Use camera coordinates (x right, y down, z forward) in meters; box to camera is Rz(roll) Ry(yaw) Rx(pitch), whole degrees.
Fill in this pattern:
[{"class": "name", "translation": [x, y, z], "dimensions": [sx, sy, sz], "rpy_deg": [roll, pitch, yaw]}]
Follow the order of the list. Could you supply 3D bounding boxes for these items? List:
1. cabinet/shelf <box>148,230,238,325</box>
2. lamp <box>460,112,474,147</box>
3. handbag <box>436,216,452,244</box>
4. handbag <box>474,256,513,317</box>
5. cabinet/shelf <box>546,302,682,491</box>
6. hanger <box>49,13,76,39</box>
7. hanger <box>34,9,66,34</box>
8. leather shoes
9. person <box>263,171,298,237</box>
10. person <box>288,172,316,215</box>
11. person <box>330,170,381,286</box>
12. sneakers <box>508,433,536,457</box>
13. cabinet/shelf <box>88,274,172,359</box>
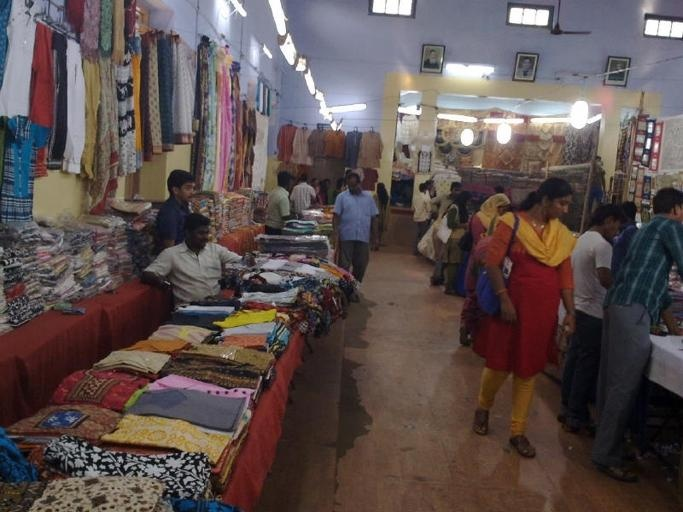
[{"class": "cabinet/shelf", "translation": [-1.188, 0.291, 4.382], "dimensions": [0.919, 0.866, 0.395], "rpy_deg": [-13, 15, -13]}, {"class": "lamp", "translation": [3.116, -3.028, 12.025], "dimensions": [0.213, 0.938, 0.952], "rpy_deg": [4, 18, 11]}, {"class": "handbag", "translation": [1.675, -0.406, 8.016], "dimensions": [0.166, 0.398, 0.292], "rpy_deg": [3, 0, 11]}, {"class": "handbag", "translation": [1.110, 0.193, 3.600], "dimensions": [0.195, 0.403, 0.279], "rpy_deg": [-6, 15, -17]}, {"class": "cabinet/shelf", "translation": [1.978, 0.935, 3.460], "dimensions": [0.347, 1.268, 0.321], "rpy_deg": [9, 12, 25]}, {"class": "hanger", "translation": [-2.176, -1.788, 3.800], "dimensions": [0.031, 0.121, 0.129], "rpy_deg": [-1, 1, 16]}, {"class": "hanger", "translation": [-2.193, -1.754, 3.648], "dimensions": [0.207, 0.094, 0.284], "rpy_deg": [-4, 30, -44]}, {"class": "leather shoes", "translation": [1.878, 1.478, 3.632], "dimensions": [0.514, 0.220, 0.159], "rpy_deg": [6, 18, 39]}, {"class": "person", "translation": [-1.026, -0.838, 7.866], "dimensions": [0.392, 1.014, 0.928], "rpy_deg": [2, 11, -9]}, {"class": "person", "translation": [-0.994, -1.345, 11.148], "dimensions": [0.466, 0.293, 1.111], "rpy_deg": [11, 44, -15]}, {"class": "person", "translation": [0.181, -0.388, 7.178], "dimensions": [0.637, 1.614, 0.369], "rpy_deg": [3, 11, -2]}, {"class": "sneakers", "translation": [1.363, 1.435, 3.699], "dimensions": [0.102, 0.082, 0.202], "rpy_deg": [-6, -1, -20]}, {"class": "cabinet/shelf", "translation": [-1.892, 0.522, 4.229], "dimensions": [0.362, 0.417, 1.187], "rpy_deg": [5, 14, 8]}]
